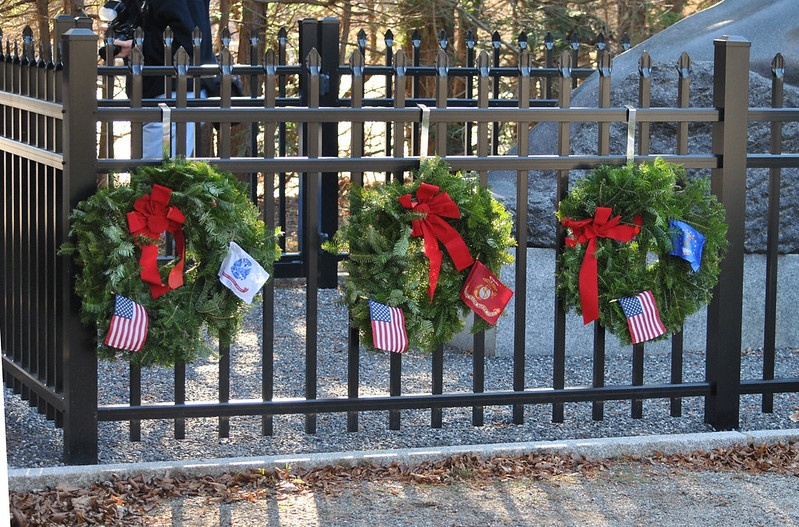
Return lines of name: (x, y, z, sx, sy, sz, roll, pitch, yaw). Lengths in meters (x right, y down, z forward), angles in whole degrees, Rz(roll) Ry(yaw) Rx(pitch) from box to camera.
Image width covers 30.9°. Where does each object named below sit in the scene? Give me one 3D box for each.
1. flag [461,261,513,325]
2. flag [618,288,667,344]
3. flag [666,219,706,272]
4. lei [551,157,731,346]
flag: (0.580, 0.192, 9.873, 0.315, 0.429, 0.253, 0, 0, -8)
flag: (1.667, 0.344, 10.078, 0.296, 0.357, 0.041, -23, 7, -4)
flag: (1.978, -0.144, 10.094, 0.330, 0.315, 0.088, 20, -2, -6)
lei: (1.626, -0.113, 10.153, 1.287, 1.242, 0.633, 5, 19, -10)
